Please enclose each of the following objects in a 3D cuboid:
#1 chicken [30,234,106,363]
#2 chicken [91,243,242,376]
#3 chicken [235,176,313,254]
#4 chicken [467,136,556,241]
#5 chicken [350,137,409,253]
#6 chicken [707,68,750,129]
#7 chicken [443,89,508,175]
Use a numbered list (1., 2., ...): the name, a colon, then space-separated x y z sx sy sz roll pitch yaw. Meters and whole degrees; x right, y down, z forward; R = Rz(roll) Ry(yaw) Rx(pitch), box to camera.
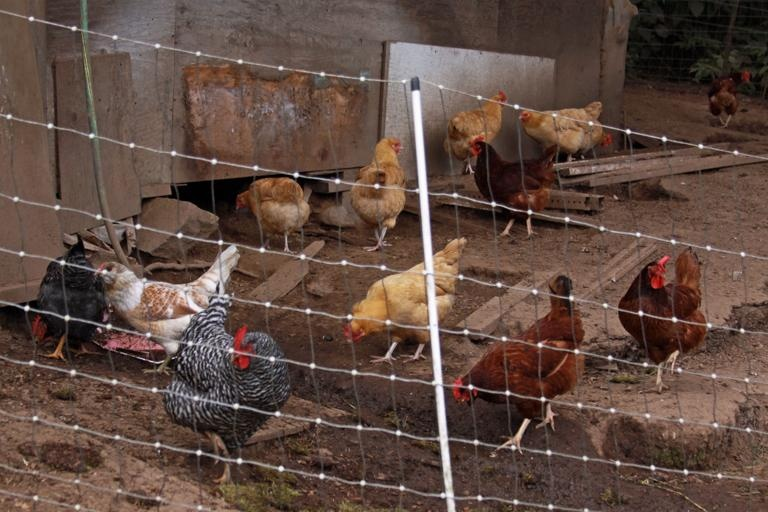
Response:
1. chicken: -3.139 0.441 11.070 0.723 1.216 0.539 -3 24 -18
2. chicken: -2.262 0.493 11.220 1.931 1.412 0.855 2 4 1
3. chicken: -1.347 -0.522 13.751 0.804 1.046 0.822 -1 23 -13
4. chicken: 1.748 -0.948 14.398 1.557 1.649 0.907 0 -1 13
5. chicken: -0.078 -0.714 13.911 0.672 1.384 1.477 5 22 0
6. chicken: 5.897 -2.799 19.434 0.817 1.171 0.733 11 57 19
7. chicken: 1.255 -1.764 15.640 0.921 1.207 1.281 6 33 10
